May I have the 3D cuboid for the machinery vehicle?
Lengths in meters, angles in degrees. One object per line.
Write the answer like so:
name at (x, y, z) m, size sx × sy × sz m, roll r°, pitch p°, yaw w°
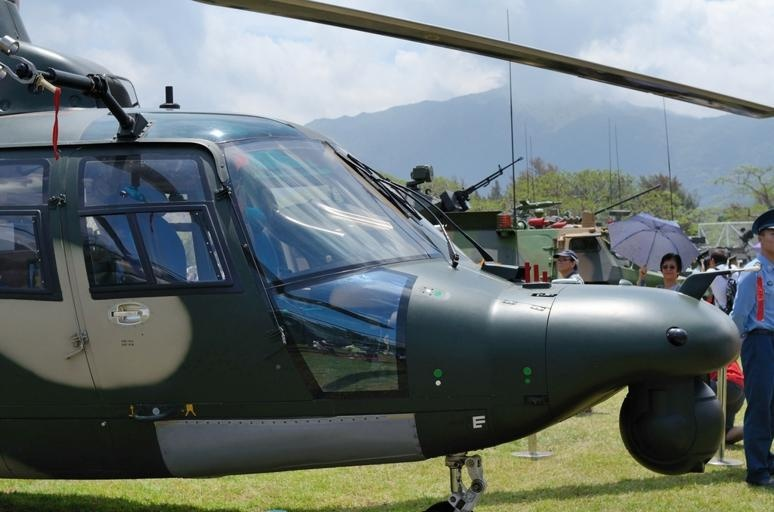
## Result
machinery vehicle at (3.596, -0.578, 15.542) m, size 5.862 × 2.595 × 2.452 m, roll 0°, pitch 6°, yaw -4°

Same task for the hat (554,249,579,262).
hat at (2.501, -0.002, 11.018) m, size 0.300 × 0.102 × 0.179 m, roll 19°, pitch -10°, yaw -30°
